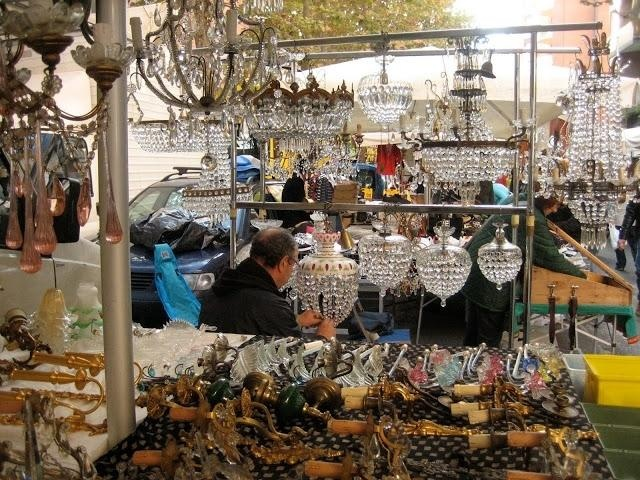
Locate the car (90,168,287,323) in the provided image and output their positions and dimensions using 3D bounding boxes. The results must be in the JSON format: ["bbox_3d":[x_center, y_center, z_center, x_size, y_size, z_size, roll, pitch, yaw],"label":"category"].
[{"bbox_3d":[-1.349,-0.044,5.885,1.061,1.075,1.955,1,6,16],"label":"car"}]

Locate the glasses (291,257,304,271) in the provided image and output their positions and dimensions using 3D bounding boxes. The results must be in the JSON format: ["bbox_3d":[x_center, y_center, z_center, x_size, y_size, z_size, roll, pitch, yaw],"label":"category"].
[{"bbox_3d":[-0.106,0.102,2.606,0.052,0.075,0.039,0,-17,16],"label":"glasses"}]
